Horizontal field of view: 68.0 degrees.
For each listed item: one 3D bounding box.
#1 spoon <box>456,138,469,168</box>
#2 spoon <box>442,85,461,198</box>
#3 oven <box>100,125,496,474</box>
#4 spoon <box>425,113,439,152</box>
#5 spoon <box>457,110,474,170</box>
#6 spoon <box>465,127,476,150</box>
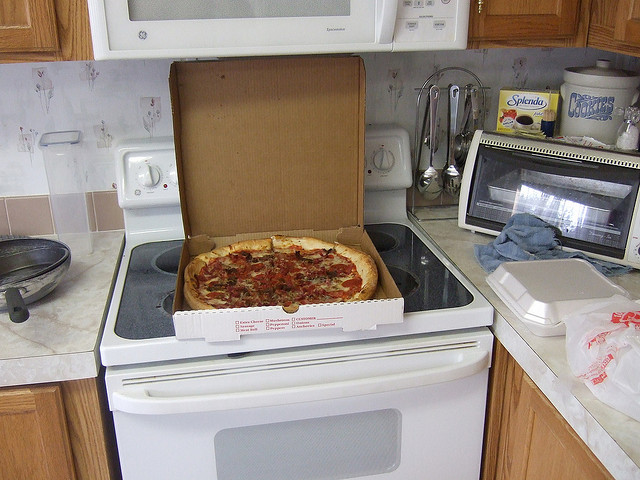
[{"bbox_3d":[0.507,-0.300,1.694,0.020,0.060,0.060,7,50,1],"label":"spoon"},{"bbox_3d":[0.452,-0.347,1.680,0.073,0.364,0.051,6,23,15],"label":"spoon"},{"bbox_3d":[-0.109,0.147,1.454,1.025,0.942,0.805,-7,21,-11],"label":"oven"},{"bbox_3d":[0.408,-0.391,1.739,0.036,0.029,0.161,2,51,6],"label":"spoon"},{"bbox_3d":[0.513,-0.335,1.682,0.040,0.138,0.023,5,-4,35],"label":"spoon"},{"bbox_3d":[0.526,-0.362,1.675,0.041,0.060,0.023,3,-6,3],"label":"spoon"}]
